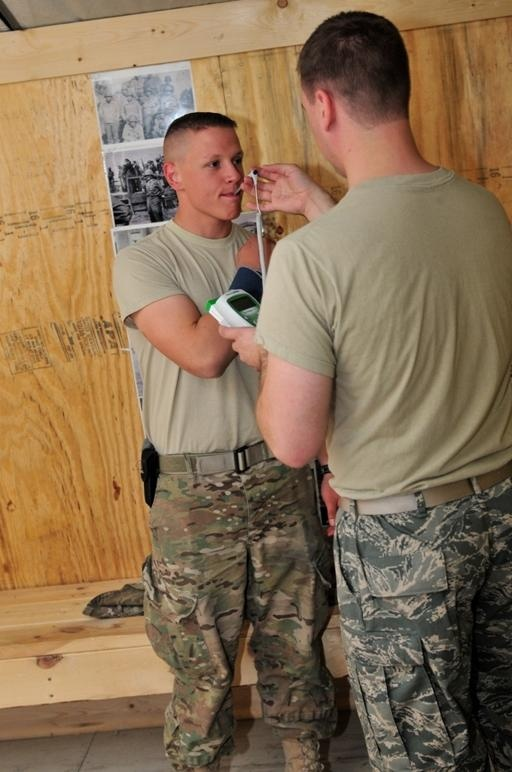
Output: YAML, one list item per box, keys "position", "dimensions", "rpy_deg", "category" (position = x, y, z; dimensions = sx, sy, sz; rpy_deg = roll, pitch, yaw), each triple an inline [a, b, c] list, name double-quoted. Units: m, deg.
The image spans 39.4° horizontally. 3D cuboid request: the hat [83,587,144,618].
- position: [-0.472, 0.740, 2.434]
  dimensions: [0.145, 0.043, 0.115]
  rpy_deg: [-2, 1, 5]
  category: "hat"
